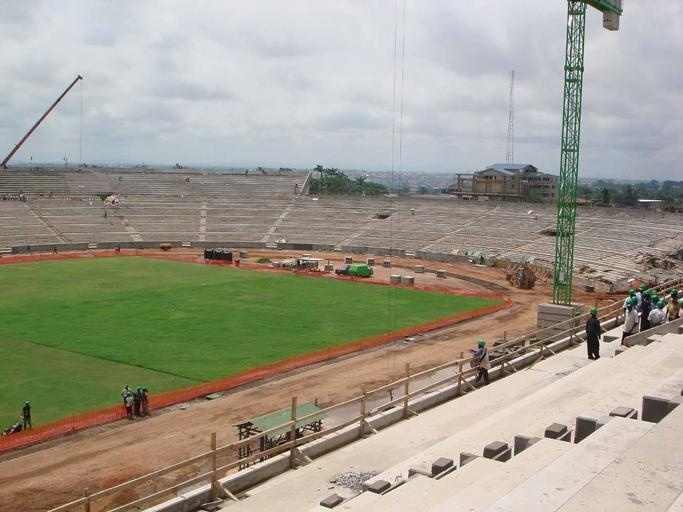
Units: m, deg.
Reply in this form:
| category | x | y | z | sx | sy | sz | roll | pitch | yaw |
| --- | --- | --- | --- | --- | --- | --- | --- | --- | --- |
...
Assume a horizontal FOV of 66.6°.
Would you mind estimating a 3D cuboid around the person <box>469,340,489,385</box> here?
| category | x | y | z | sx | sy | sz | roll | pitch | yaw |
| --- | --- | --- | --- | --- | --- | --- | --- | --- | --- |
| person | 5.018 | 3.791 | 18.590 | 0.640 | 1.674 | 1.405 | 5 | 5 | 15 |

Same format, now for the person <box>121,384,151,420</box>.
| category | x | y | z | sx | sy | sz | roll | pitch | yaw |
| --- | --- | --- | --- | --- | --- | --- | --- | --- | --- |
| person | -10.040 | 7.169 | 25.393 | 1.254 | 1.317 | 1.220 | 0 | 5 | -23 |

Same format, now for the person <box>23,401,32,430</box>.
| category | x | y | z | sx | sy | sz | roll | pitch | yaw |
| --- | --- | --- | --- | --- | --- | --- | --- | --- | --- |
| person | -14.423 | 7.337 | 23.713 | 0.376 | 1.142 | 1.328 | 0 | 5 | -30 |

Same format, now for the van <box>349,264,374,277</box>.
| category | x | y | z | sx | sy | sz | roll | pitch | yaw |
| --- | --- | --- | --- | --- | --- | --- | --- | --- | --- |
| van | 2.390 | 1.866 | 65.397 | 2.754 | 0.907 | 1.703 | -4 | 9 | -26 |
